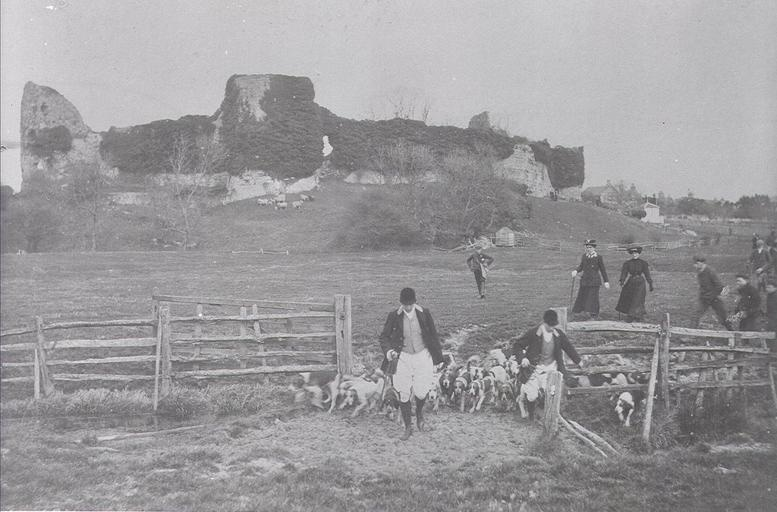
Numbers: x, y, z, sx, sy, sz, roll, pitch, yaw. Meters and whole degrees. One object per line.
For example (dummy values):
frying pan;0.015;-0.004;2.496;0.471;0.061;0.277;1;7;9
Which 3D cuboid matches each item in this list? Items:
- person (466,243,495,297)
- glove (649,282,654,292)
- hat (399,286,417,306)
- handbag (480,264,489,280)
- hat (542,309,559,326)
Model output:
person;2.319;0.407;22.268;0.607;1.321;0.551;3;2;30
glove;6.551;0.773;21.590;0.061;0.230;0.216;3;2;43
hat;0.420;0.903;19.514;0.364;0.378;0.393;-1;-18;3
handbag;2.455;0.404;22.186;0.194;0.344;0.179;2;2;3
hat;3.778;1.439;20.186;0.326;0.371;0.394;-2;13;6
